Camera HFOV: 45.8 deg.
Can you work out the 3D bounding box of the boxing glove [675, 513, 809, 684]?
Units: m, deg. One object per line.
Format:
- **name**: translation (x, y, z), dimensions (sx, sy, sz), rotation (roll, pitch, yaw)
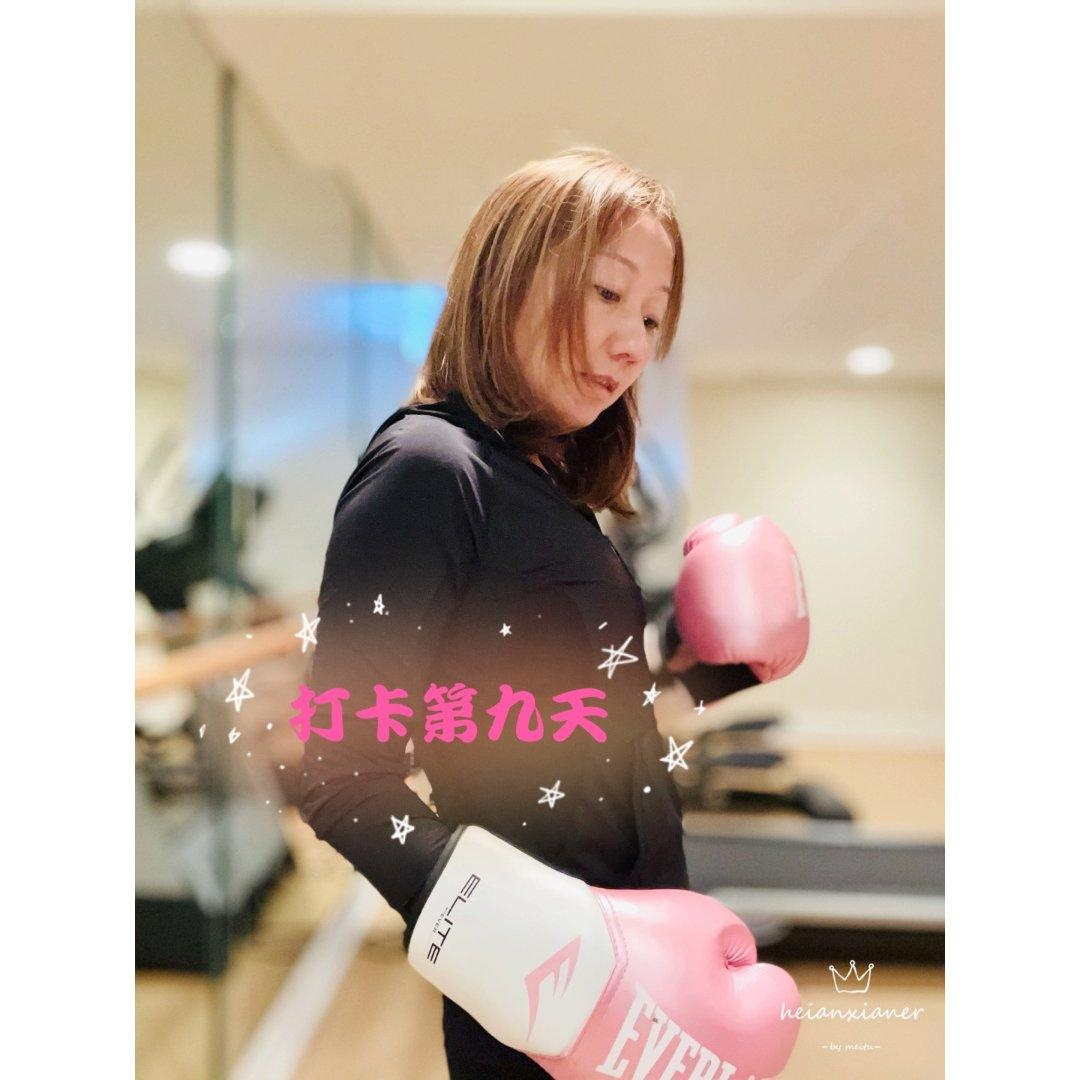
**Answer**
- **boxing glove**: translation (0.314, 0.087, 1.983), dimensions (0.211, 0.246, 0.112), rotation (5, 2, 4)
